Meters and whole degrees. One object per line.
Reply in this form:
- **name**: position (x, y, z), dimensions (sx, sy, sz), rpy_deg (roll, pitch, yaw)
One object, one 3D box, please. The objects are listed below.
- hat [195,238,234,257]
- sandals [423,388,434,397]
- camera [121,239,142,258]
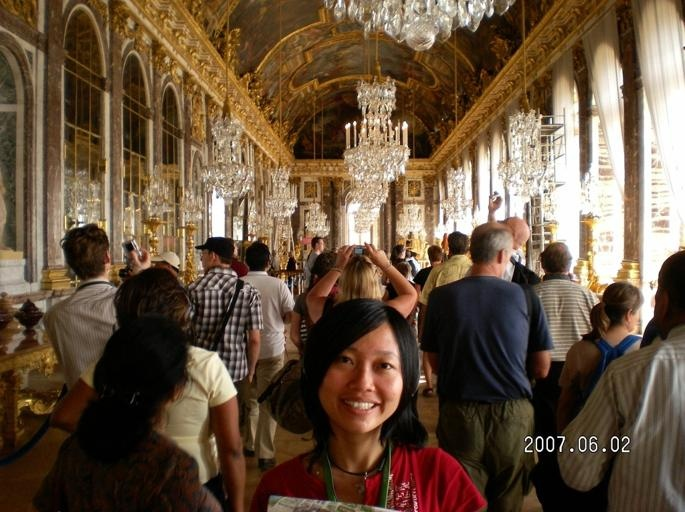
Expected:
- **hat**: position (-1.091, -0.096, 4.785), dimensions (0.231, 0.138, 0.177), rpy_deg (16, 2, 6)
- **sandals**: position (1.140, 1.810, 7.397), dimensions (0.114, 0.139, 0.087), rpy_deg (2, -12, 6)
- **camera**: position (-2.283, -0.078, 5.957), dimensions (0.163, 0.198, 0.239), rpy_deg (-12, -5, -12)
